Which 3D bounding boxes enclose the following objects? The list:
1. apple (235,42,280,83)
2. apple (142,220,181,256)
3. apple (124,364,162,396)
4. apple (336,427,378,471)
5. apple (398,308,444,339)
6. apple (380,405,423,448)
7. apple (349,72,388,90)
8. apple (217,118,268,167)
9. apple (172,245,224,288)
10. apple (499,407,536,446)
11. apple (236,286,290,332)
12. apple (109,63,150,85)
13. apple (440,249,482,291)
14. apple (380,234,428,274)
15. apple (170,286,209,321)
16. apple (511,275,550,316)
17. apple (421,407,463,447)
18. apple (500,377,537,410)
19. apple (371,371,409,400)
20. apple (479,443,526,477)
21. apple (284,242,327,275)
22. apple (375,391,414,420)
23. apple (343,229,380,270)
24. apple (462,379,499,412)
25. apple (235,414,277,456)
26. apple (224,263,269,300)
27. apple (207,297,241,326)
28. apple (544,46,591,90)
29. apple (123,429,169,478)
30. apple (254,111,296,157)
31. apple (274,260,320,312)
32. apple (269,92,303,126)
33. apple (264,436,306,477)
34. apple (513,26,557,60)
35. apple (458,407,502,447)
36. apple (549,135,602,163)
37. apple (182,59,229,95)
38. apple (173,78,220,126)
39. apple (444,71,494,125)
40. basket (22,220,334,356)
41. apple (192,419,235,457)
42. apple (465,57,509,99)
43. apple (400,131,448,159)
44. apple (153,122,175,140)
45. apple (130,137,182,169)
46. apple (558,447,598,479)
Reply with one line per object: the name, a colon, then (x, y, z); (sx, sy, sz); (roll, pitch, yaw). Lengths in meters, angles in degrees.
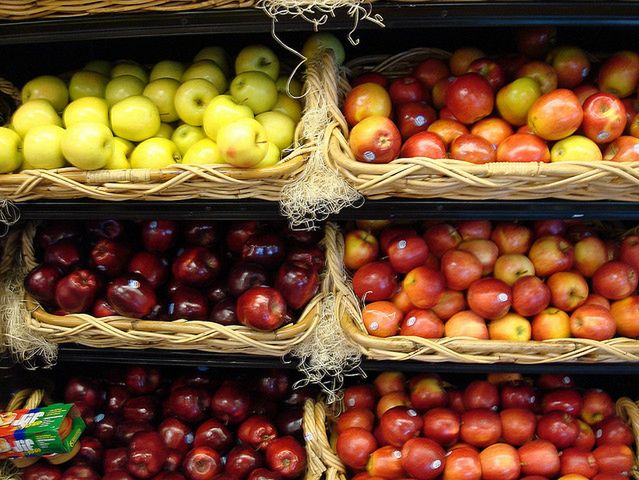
apple: (-0.241, -0.631, 2.149); (0.133, 0.158, 0.137); (15, -85, -13)
apple: (-0.592, -0.011, 2.197); (0.140, 0.136, 0.136); (5, -95, 33)
apple: (-0.700, 0.540, 2.310); (0.139, 0.133, 0.131); (-5, -86, 26)
apple: (0.130, 0.737, 2.035); (0.136, 0.072, 0.126); (34, -80, -7)
apple: (0.364, 0.293, 2.030); (0.116, 0.111, 0.111); (-40, -108, 6)
apple: (0.295, 0.646, 2.062); (0.132, 0.131, 0.127); (-3, -86, -47)
apple: (0.188, -0.609, 2.168); (0.126, 0.098, 0.070); (6, -81, 20)
apple: (-0.252, -0.313, 1.856); (0.164, 0.158, 0.167); (-2, -94, -25)
apple: (-0.460, 0.124, 2.148); (0.159, 0.147, 0.174); (18, -67, 5)
apple: (0.721, 0.686, 2.101); (0.127, 0.135, 0.159); (16, -116, -25)
apple: (-0.197, 0.245, 2.000); (0.159, 0.183, 0.163); (18, -113, -20)
apple: (-0.718, -0.639, 2.154); (0.102, 0.103, 0.095); (-12, -74, -20)
apple: (0.499, 0.099, 2.083); (0.135, 0.135, 0.145); (-12, -89, -1)
apple: (0.307, 0.031, 2.077); (0.160, 0.134, 0.134); (-11, -116, 1)
apple: (-0.471, 0.229, 2.049); (0.123, 0.120, 0.125); (-20, -60, -4)
apple: (0.734, 0.196, 1.984); (0.091, 0.090, 0.109); (43, -102, -29)
apple: (0.430, 0.655, 2.015); (0.166, 0.131, 0.131); (2, -110, -1)
apple: (0.748, 0.572, 2.146); (0.112, 0.108, 0.128); (2, -103, 7)
apple: (0.277, 0.561, 2.261); (0.137, 0.114, 0.114); (2, -44, -7)
apple: (0.625, 0.754, 1.957); (0.136, 0.114, 0.113); (3, -93, -6)
apple: (-0.047, 0.056, 2.199); (0.144, 0.121, 0.121); (13, -97, 14)
apple: (0.283, 0.599, 2.172); (0.103, 0.103, 0.105); (10, -47, 38)
apple: (0.150, 0.028, 2.160); (0.130, 0.131, 0.131); (7, -68, -2)
apple: (0.592, 0.567, 2.145); (0.115, 0.115, 0.137); (6, -90, 6)
apple: (-0.221, 0.704, 2.184); (0.124, 0.160, 0.141); (-25, -90, -3)
apple: (-0.265, 0.137, 2.130); (0.146, 0.135, 0.134); (-6, -110, 16)
apple: (-0.343, 0.259, 2.048); (0.095, 0.095, 0.093); (-15, -33, -21)
apple: (0.932, -0.655, 2.127); (0.151, 0.158, 0.175); (-4, -53, 30)
apple: (-0.605, 0.745, 1.993); (0.141, 0.186, 0.140); (1, -78, 1)
apple: (-0.152, -0.386, 2.065); (0.152, 0.167, 0.146); (7, -98, -37)
apple: (-0.066, 0.171, 2.090); (0.162, 0.160, 0.169); (-1, -77, -42)
apple: (-0.103, -0.467, 2.109); (0.112, 0.113, 0.133); (0, -98, 15)
apple: (-0.122, 0.772, 2.047); (0.118, 0.142, 0.128); (10, -97, -5)
apple: (0.838, -0.743, 2.193); (0.112, 0.114, 0.109); (-8, -86, 19)
apple: (0.564, 0.661, 2.016); (0.161, 0.128, 0.138); (1, -82, 12)
apple: (0.837, -0.294, 1.865); (0.109, 0.108, 0.107); (0, -100, -9)
apple: (-0.404, -0.606, 2.068); (0.146, 0.175, 0.151); (2, -52, -6)
apple: (-0.444, -0.488, 2.064); (0.153, 0.153, 0.154); (4, -81, -17)
apple: (0.537, -0.499, 2.054); (0.173, 0.201, 0.200); (-5, -97, 14)
basket: (-0.524, 0.176, 1.945); (0.686, 0.464, 0.148); (1, -60, 0)
apple: (-0.395, 0.726, 2.181); (0.134, 0.121, 0.127); (-25, -54, -13)
apple: (0.634, -0.614, 2.174); (0.151, 0.154, 0.155); (-2, -73, 37)
apple: (0.346, -0.306, 1.865); (0.124, 0.108, 0.107); (-6, -80, 3)
apple: (-0.556, -0.391, 2.050); (0.060, 0.060, 0.071); (0, -88, 0)
apple: (-0.550, -0.283, 1.953); (0.145, 0.127, 0.122); (7, -93, 13)
apple: (0.911, 0.778, 2.003); (0.108, 0.103, 0.127); (21, -30, -37)
